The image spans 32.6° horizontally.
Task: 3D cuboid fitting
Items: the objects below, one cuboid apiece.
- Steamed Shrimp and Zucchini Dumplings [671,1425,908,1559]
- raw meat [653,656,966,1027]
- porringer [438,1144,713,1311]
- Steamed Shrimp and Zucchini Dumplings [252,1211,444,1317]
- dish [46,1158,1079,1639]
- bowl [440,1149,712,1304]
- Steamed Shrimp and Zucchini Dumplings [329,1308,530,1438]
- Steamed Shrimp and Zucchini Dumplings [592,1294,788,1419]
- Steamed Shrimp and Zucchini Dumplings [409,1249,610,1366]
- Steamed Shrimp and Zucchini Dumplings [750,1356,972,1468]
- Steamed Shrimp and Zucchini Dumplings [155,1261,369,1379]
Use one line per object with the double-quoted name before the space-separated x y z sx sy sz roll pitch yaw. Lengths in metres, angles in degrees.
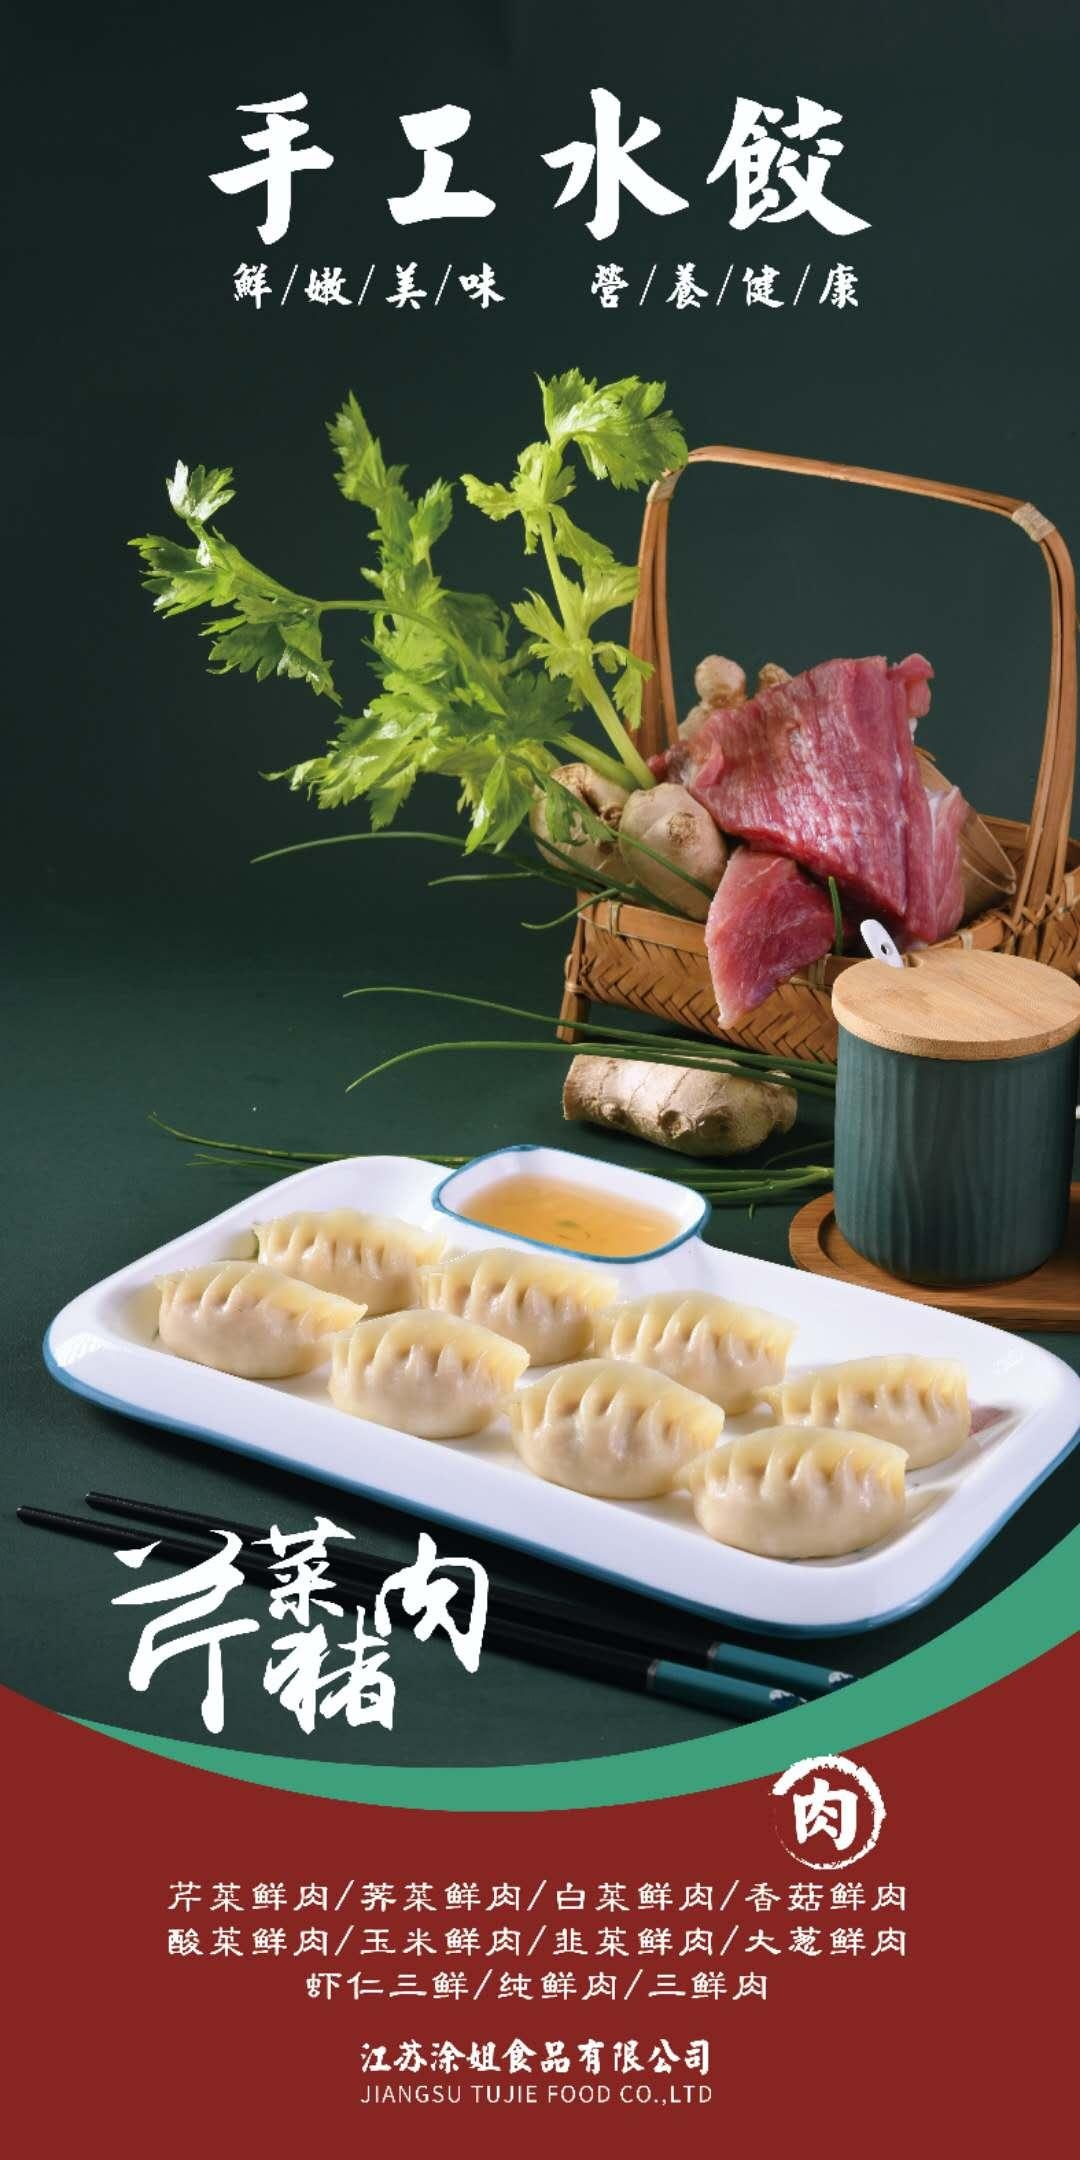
"Steamed Shrimp and Zucchini Dumplings" 0.153 0.238 1.095 0.086 0.032 0.078 -1 12 12
"raw meat" 0.269 -0.227 1.777 0.295 0.353 0.267 2 12 3
"porringer" 0.036 0.112 1.518 0.157 0.027 0.117 15 32 29
"Steamed Shrimp and Zucchini Dumplings" -0.149 0.152 1.424 0.085 0.045 0.106 17 -9 -4
"dish" -0.007 0.221 1.158 0.450 0.054 0.324 13 24 30
"bowl" 0.034 0.095 1.490 0.161 0.056 0.118 14 31 27
"Steamed Shrimp and Zucchini Dumplings" -0.079 0.197 1.225 0.090 0.054 0.092 3 -28 18
"Steamed Shrimp and Zucchini Dumplings" 0.106 0.174 1.279 0.104 0.044 0.082 13 20 31
"Steamed Shrimp and Zucchini Dumplings" -0.008 0.154 1.351 0.084 0.039 0.105 24 -3 -6
"Steamed Shrimp and Zucchini Dumplings" 0.217 0.205 1.201 0.093 0.036 0.072 1 18 30
"Steamed Shrimp and Zucchini Dumplings" -0.205 0.153 1.311 0.110 0.047 0.080 15 6 10
